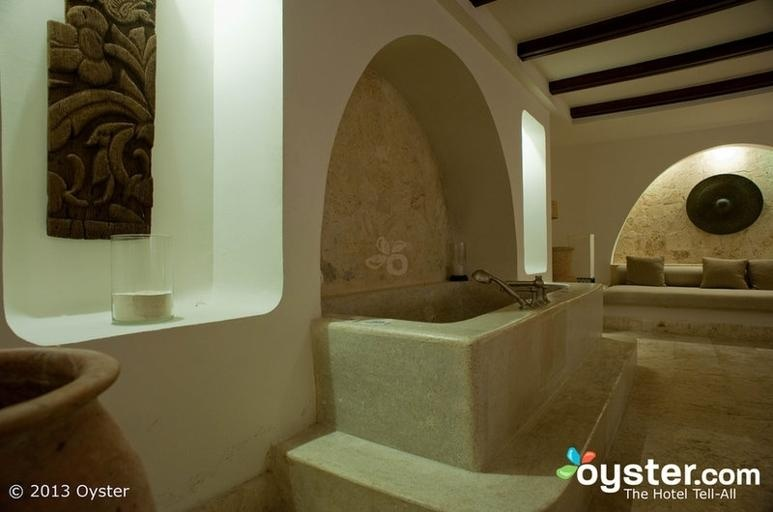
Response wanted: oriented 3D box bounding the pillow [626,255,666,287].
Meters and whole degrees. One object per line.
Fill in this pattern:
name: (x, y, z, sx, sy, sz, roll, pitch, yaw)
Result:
pillow: (3.027, 0.192, 5.707, 0.300, 0.294, 0.109, 3, -15, 40)
